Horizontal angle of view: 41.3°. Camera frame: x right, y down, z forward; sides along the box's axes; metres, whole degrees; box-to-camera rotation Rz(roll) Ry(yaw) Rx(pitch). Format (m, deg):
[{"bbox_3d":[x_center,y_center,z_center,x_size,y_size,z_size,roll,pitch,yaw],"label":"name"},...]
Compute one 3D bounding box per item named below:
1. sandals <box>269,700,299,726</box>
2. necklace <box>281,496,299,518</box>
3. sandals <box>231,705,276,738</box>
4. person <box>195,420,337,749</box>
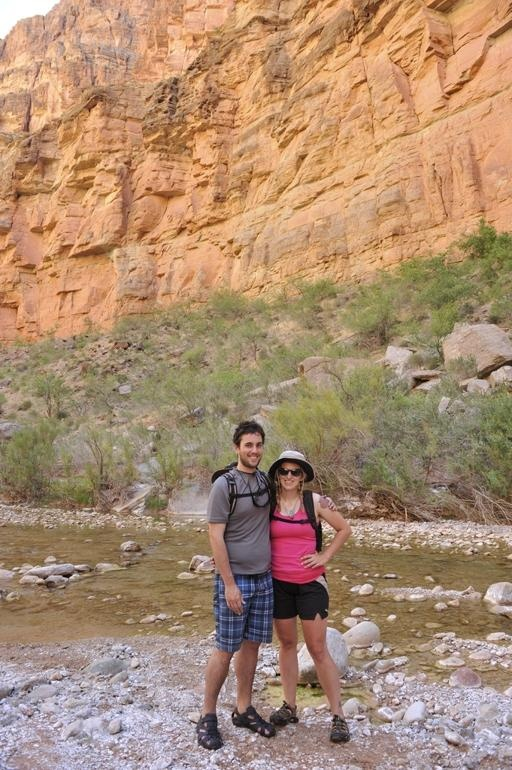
[{"bbox_3d":[0.137,1.525,3.122,0.058,0.084,0.163,-9,-19,32],"label":"sandals"},{"bbox_3d":[0.167,0.593,3.264,0.057,0.080,0.029,8,9,9],"label":"necklace"},{"bbox_3d":[-0.009,1.521,3.069,0.176,0.082,0.083,-3,-4,40],"label":"sandals"},{"bbox_3d":[-0.104,0.880,3.118,0.365,1.479,0.458,-2,0,0],"label":"person"}]
